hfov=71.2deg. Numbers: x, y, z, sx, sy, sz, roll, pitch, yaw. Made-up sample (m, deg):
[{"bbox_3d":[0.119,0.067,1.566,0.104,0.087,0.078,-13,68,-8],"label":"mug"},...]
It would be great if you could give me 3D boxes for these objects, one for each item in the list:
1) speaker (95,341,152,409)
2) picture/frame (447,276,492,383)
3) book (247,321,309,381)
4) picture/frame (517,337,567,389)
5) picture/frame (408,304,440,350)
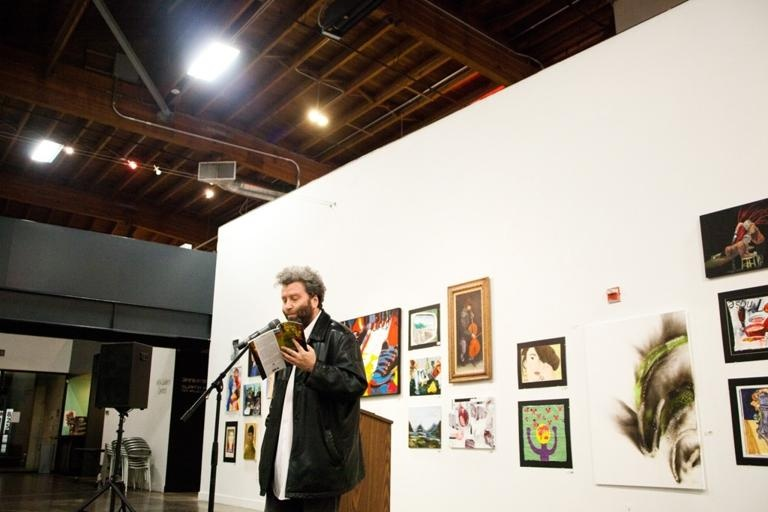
[{"bbox_3d":[-4.190,1.897,8.546,0.709,0.993,0.545,3,-5,19],"label":"speaker"},{"bbox_3d":[1.080,0.961,6.764,0.211,1.236,0.715,15,-23,-37],"label":"picture/frame"},{"bbox_3d":[-0.814,0.722,4.242,0.464,0.468,0.095,13,2,-33],"label":"book"},{"bbox_3d":[1.826,1.247,6.122,0.558,0.521,0.041,-10,-19,39],"label":"picture/frame"},{"bbox_3d":[0.555,0.989,7.249,0.024,0.573,0.540,13,-18,-38],"label":"picture/frame"}]
